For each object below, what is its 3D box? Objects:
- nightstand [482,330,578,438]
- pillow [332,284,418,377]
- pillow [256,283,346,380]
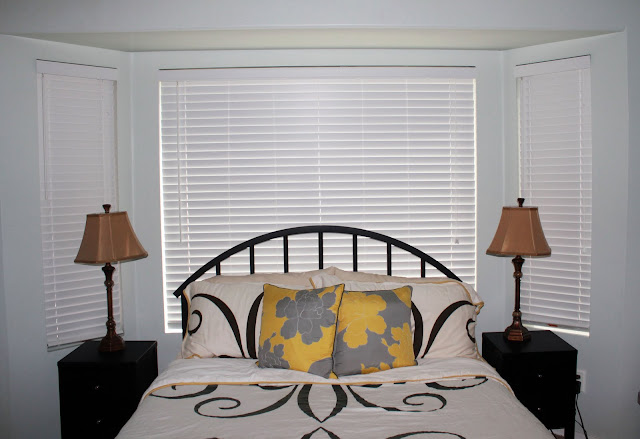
[{"bbox_3d":[1.472,1.155,4.254,0.654,0.899,0.671,-1,2,6],"label":"nightstand"},{"bbox_3d":[0.350,0.726,3.766,0.553,0.496,0.164,-1,-11,-4],"label":"pillow"},{"bbox_3d":[-0.142,0.710,3.750,0.599,0.552,0.179,1,-8,24],"label":"pillow"}]
